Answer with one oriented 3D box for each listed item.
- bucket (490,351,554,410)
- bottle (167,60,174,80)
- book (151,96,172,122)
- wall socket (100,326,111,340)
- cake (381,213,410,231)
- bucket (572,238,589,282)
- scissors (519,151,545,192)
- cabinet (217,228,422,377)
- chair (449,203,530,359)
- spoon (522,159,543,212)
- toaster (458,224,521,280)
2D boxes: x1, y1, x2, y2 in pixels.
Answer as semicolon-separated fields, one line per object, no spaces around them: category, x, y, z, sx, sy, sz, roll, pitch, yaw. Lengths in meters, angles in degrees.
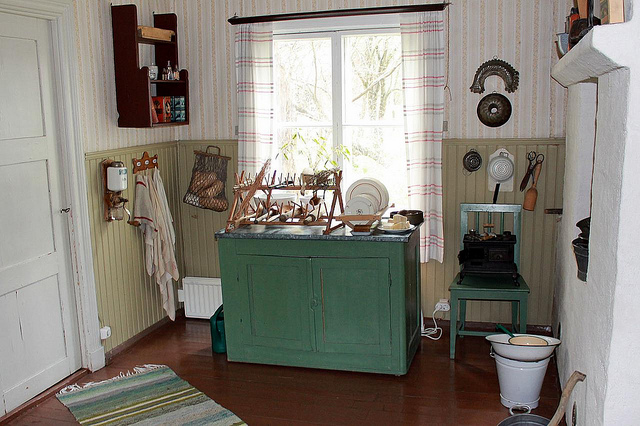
bucket;1.526;1.280;3.647;0.422;0.408;0.415;-1;7;0
bottle;-1.517;-1.472;4.939;0.061;0.210;0.135;-3;9;-16
book;-1.585;-1.059;4.877;0.140;0.260;0.263;3;15;4
wall socket;-1.950;1.105;4.417;0.074;0.136;0.144;1;2;4
cake;0.656;0.096;4.135;0.234;0.180;0.128;0;-3;15
bucket;1.541;0.283;2.859;0.076;0.265;0.235;4;10;25
scissors;2.016;-0.387;4.584;0.142;0.411;0.031;27;13;27
cabinet;0.044;0.697;4.609;1.690;1.264;1.015;1;9;17
chair;1.534;0.627;4.416;0.814;1.357;0.871;-2;7;-7
spoon;2.038;-0.256;4.595;0.162;0.503;0.123;2;9;15
toaster;1.529;0.364;4.329;0.515;0.460;0.238;3;9;18
